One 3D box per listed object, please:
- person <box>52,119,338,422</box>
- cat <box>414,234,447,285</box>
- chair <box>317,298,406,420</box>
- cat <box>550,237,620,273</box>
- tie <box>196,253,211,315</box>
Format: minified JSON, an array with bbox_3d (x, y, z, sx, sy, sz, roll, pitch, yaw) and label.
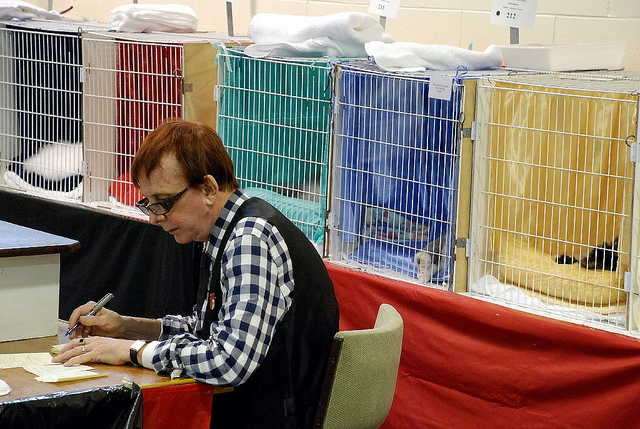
[{"bbox_3d":[-0.382,0.152,3.297,1.147,1.876,1.022,1,4,-5],"label":"person"},{"bbox_3d":[0.558,0.212,3.490,0.175,0.256,0.136,6,13,22],"label":"cat"},{"bbox_3d":[0.149,0.555,2.561,0.390,0.360,0.190,-10,16,-43],"label":"chair"},{"bbox_3d":[1.211,0.173,3.189,0.215,0.093,0.168,1,2,1],"label":"cat"},{"bbox_3d":[-0.441,0.272,2.643,0.035,0.248,0.093,7,-6,-8],"label":"tie"}]
